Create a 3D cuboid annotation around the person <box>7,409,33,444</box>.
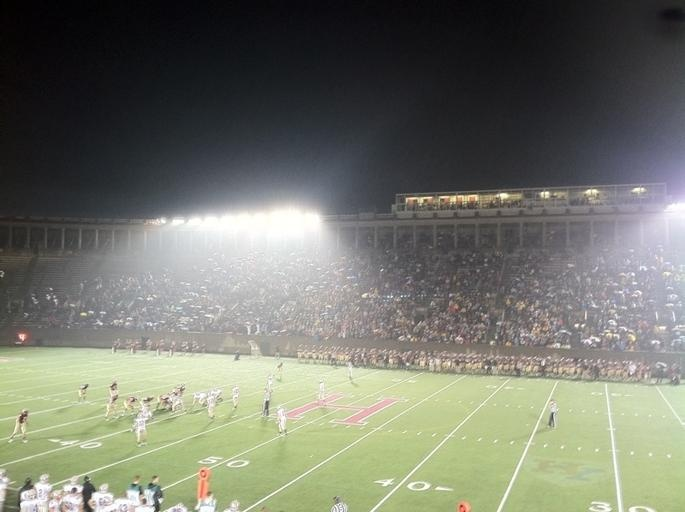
[{"bbox_3d":[-16.362,8.494,27.251,0.824,1.476,2.567,1,-7,-31],"label":"person"}]
